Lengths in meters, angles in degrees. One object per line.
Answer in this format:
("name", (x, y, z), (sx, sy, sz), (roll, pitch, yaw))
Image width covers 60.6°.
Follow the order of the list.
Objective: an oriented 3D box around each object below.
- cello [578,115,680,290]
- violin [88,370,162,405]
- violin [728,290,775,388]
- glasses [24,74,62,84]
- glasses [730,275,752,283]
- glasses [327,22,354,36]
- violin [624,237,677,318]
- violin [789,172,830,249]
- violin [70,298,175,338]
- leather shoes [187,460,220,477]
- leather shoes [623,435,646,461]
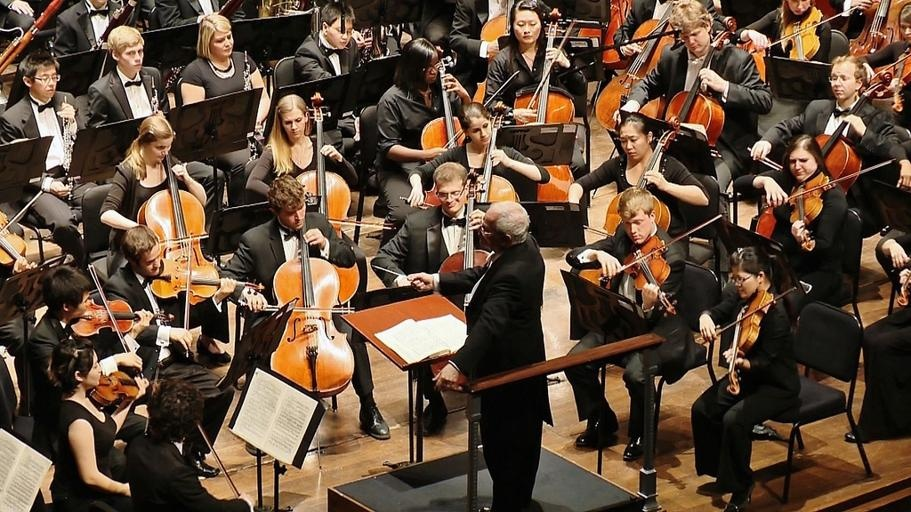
("cello", (1.629, -0.543, 7.261), (0.893, 1.639, 0.575), (6, -6, 29))
("violin", (-2.556, 1.003, 6.020), (0.488, 0.238, 0.143), (2, -40, -47))
("violin", (2.386, 0.658, 6.134), (0.138, 0.815, 0.336), (34, -24, -13))
("glasses", (-4.181, -1.775, 7.830), (0.176, 0.050, 0.180), (2, 8, 41))
("glasses", (2.278, 0.186, 6.200), (0.106, 0.032, 0.102), (-4, 9, -33))
("glasses", (-1.353, -2.561, 8.883), (0.177, 0.053, 0.180), (2, 3, 43))
("violin", (1.738, 0.170, 6.708), (0.382, 0.705, 0.150), (-32, -29, 12))
("violin", (3.328, -0.579, 7.408), (0.349, 0.781, 0.141), (33, -38, -12))
("violin", (-2.755, 0.496, 6.264), (0.637, 0.306, 0.337), (-7, 10, -24))
("leather shoes", (-2.053, 1.714, 6.334), (0.239, 0.158, 0.116), (-6, 9, -16))
("leather shoes", (1.479, 1.617, 6.476), (0.267, 0.107, 0.097), (-29, 39, -36))
